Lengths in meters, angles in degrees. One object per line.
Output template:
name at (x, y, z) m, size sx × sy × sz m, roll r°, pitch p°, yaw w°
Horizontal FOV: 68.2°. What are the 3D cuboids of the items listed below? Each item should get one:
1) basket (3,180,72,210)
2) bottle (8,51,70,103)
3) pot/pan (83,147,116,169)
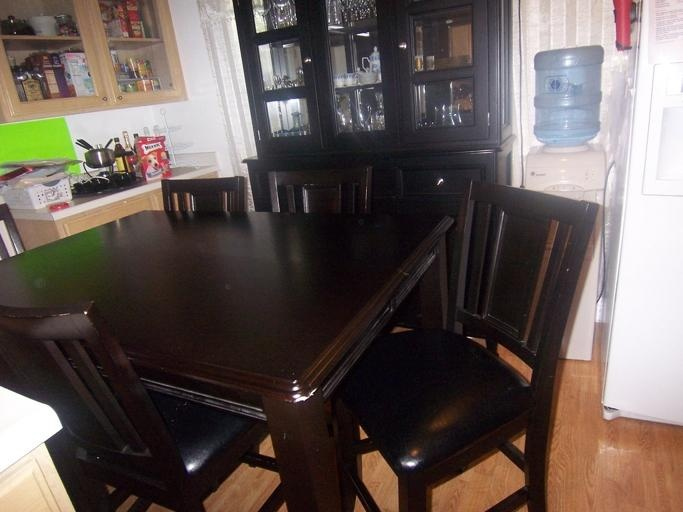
basket at (-1.823, -0.368, 2.980) m, size 0.263 × 0.094 × 0.215 m, roll 0°, pitch 25°, yaw 20°
bottle at (-1.838, -1.096, 3.064) m, size 0.115 × 0.264 × 0.355 m, roll 8°, pitch 25°, yaw 28°
pot/pan at (-1.587, -0.649, 3.331) m, size 0.149 × 0.111 × 0.151 m, roll 9°, pitch 15°, yaw 35°
